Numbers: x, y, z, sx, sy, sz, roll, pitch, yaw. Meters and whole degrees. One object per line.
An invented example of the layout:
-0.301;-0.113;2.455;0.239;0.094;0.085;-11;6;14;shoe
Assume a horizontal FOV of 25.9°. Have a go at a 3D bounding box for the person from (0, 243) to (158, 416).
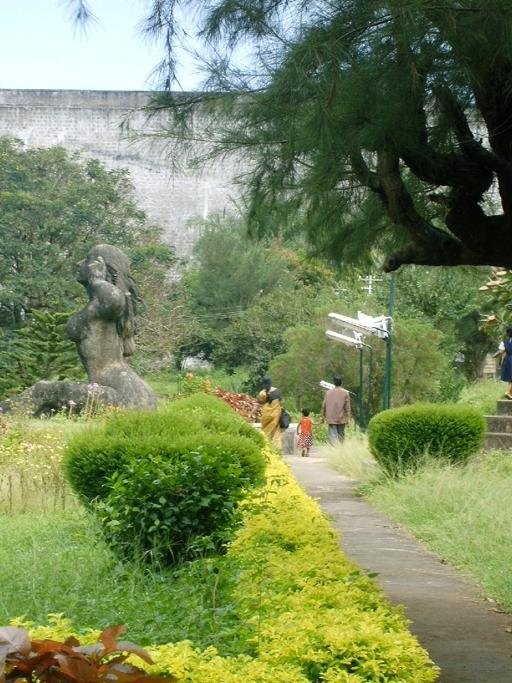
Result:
-1.986;-0.122;14.134;1.652;2.238;1.039;5;2;25;person
